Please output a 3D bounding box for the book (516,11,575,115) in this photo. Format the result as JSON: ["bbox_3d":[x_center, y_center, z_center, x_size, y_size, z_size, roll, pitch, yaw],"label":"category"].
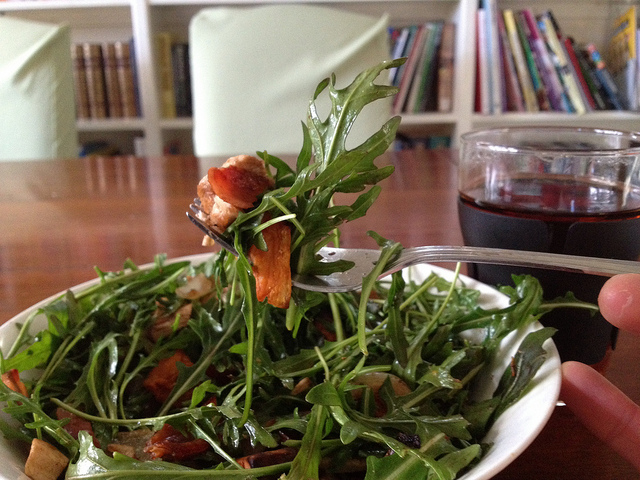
[{"bbox_3d":[0.344,-0.271,0.805,0.041,0.198,0.030,-23,-6,-25],"label":"book"}]

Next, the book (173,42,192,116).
[{"bbox_3d":[-0.340,-0.381,1.256,0.057,0.195,0.008,-3,-1,10],"label":"book"}]

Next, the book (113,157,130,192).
[{"bbox_3d":[-0.338,-0.110,0.896,0.029,0.009,0.209,-5,23,-19],"label":"book"}]

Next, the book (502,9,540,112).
[{"bbox_3d":[0.361,-0.325,0.950,0.033,0.182,0.028,-8,-19,-13],"label":"book"}]

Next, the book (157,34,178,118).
[{"bbox_3d":[-0.361,-0.385,1.251,0.040,0.185,0.053,-6,12,-14],"label":"book"}]
